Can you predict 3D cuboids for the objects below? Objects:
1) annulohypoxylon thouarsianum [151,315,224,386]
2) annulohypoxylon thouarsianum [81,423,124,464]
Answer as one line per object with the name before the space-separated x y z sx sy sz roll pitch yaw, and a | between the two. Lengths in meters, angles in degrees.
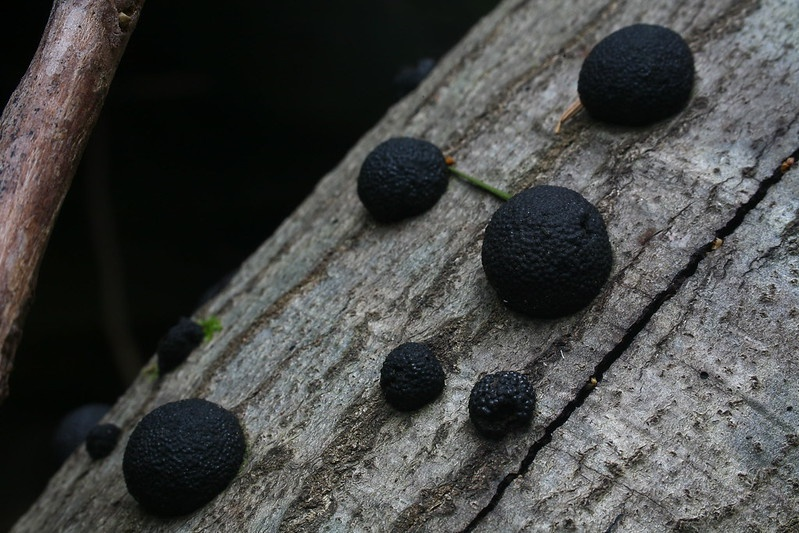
annulohypoxylon thouarsianum | -1.242 0.480 4.727 0.248 0.406 0.135 50 3 30
annulohypoxylon thouarsianum | -1.704 1.017 4.614 0.163 0.212 0.058 30 -13 10
